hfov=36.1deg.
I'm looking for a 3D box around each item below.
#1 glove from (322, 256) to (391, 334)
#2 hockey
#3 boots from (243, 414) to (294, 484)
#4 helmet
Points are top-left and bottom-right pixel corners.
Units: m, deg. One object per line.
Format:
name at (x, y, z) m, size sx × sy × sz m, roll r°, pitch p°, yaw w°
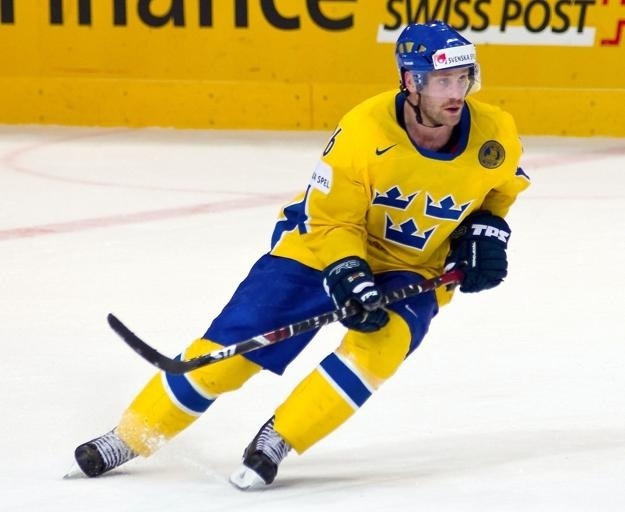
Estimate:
glove at (0.139, 0.095, 2.805) m, size 0.151 × 0.099 × 0.249 m, roll -25°, pitch 33°, yaw -6°
hockey at (-0.059, 0.224, 3.044) m, size 1.082 × 0.060 × 0.181 m, roll -12°, pitch 48°, yaw -9°
boots at (-0.132, 0.567, 2.757) m, size 0.112 × 0.183 × 0.191 m, roll 5°, pitch 14°, yaw 21°
helmet at (0.362, -0.606, 2.855) m, size 0.202 × 0.224 × 0.245 m, roll -14°, pitch 20°, yaw -31°
